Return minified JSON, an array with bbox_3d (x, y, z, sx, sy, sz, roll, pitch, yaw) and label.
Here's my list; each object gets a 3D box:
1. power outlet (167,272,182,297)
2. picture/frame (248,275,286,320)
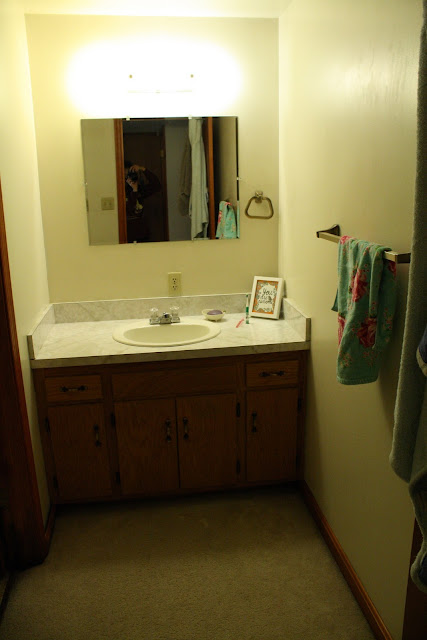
[{"bbox_3d":[-0.200,-0.190,2.441,0.080,0.196,0.018,-4,16,-12],"label":"power outlet"},{"bbox_3d":[0.279,-0.109,2.420,0.135,0.235,0.031,12,3,36],"label":"picture/frame"}]
